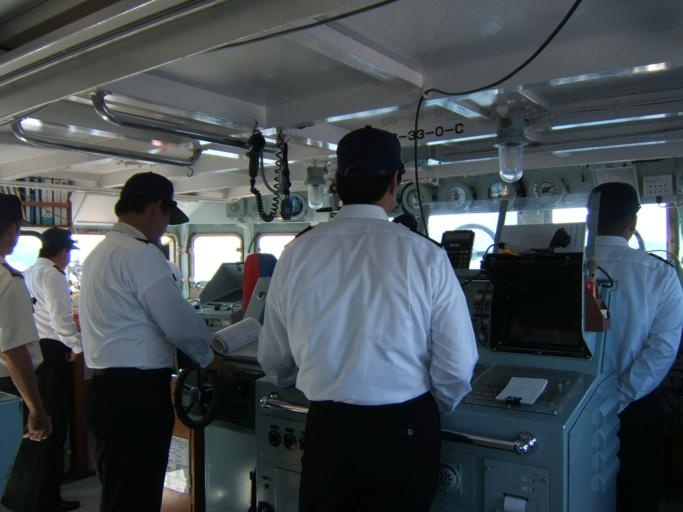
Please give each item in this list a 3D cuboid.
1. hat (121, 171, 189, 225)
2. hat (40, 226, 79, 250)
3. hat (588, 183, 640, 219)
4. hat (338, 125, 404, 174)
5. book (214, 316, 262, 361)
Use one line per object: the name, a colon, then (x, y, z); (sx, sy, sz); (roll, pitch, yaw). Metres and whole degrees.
hat: (-0.967, -0.294, 2.821); (0.221, 0.210, 0.343); (2, 0, 45)
hat: (-2.190, -0.133, 4.168); (0.148, 0.129, 0.227); (2, 3, 26)
hat: (1.464, -0.289, 2.821); (0.191, 0.148, 0.280); (1, 19, 27)
hat: (0.116, -0.405, 2.118); (0.220, 0.188, 0.369); (6, 10, 20)
book: (-0.579, 0.476, 3.084); (0.077, 0.199, 0.202); (-22, -4, 39)
